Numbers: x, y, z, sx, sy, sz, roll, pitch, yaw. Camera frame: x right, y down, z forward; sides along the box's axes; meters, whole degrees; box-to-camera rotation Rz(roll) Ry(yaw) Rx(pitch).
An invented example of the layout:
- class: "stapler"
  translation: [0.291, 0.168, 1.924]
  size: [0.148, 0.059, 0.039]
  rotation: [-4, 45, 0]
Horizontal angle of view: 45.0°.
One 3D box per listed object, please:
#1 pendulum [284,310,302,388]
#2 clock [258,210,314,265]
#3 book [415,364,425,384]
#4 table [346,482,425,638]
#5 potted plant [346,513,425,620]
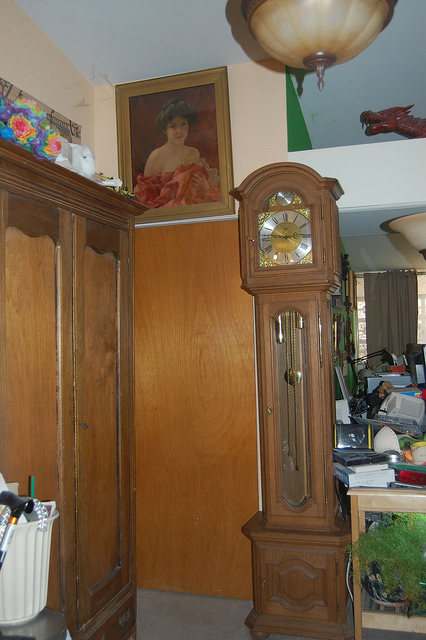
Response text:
- class: "pendulum"
  translation: [0.373, 0.130, 2.462]
  size: [0.083, 0.352, 0.024]
  rotation: [-3, -3, 9]
- class: "clock"
  translation: [0.362, -0.392, 2.467]
  size: [0.260, 0.270, 0.035]
  rotation: [2, -2, 18]
- class: "book"
  translation: [1.279, 0.332, 3.176]
  size: [0.044, 0.080, 0.040]
  rotation: [-4, -3, 27]
- class: "table"
  translation: [0.743, 1.010, 2.168]
  size: [0.311, 0.617, 0.244]
  rotation: [-4, -3, 19]
- class: "potted plant"
  translation: [0.723, 0.998, 2.179]
  size: [0.354, 0.347, 0.357]
  rotation: [-10, -12, 41]
